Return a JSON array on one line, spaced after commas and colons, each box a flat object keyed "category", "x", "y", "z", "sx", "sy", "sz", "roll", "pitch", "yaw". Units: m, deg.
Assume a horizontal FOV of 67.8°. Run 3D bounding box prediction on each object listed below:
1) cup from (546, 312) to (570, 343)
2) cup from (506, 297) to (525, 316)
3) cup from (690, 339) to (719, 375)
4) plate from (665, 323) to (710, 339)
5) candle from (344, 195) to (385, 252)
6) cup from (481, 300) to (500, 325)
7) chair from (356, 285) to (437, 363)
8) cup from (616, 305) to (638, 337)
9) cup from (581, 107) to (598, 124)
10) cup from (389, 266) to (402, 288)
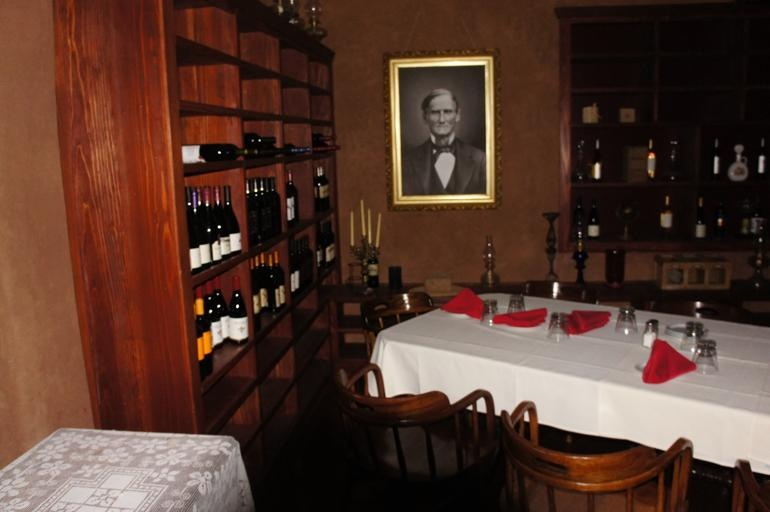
[{"category": "cup", "x": 0.989, "y": 0.411, "z": 3.303, "sx": 0.137, "sy": 0.160, "sz": 0.144, "roll": 1, "pitch": 1, "yaw": 0}, {"category": "cup", "x": 0.839, "y": 0.321, "z": 3.701, "sx": 0.102, "sy": 0.104, "sz": 0.098, "roll": -1, "pitch": 5, "yaw": 0}, {"category": "cup", "x": 1.591, "y": 0.497, "z": 2.918, "sx": 0.145, "sy": 0.165, "sz": 0.139, "roll": -5, "pitch": 10, "yaw": 1}, {"category": "plate", "x": 1.663, "y": 0.413, "z": 3.200, "sx": 0.158, "sy": 0.042, "sz": 0.121, "roll": 0, "pitch": 4, "yaw": 16}, {"category": "candle", "x": -0.183, "y": -0.276, "z": 5.149, "sx": 0.327, "sy": 0.472, "sz": 0.394, "roll": -3, "pitch": 8, "yaw": -4}, {"category": "cup", "x": 0.641, "y": 0.344, "z": 3.617, "sx": 0.125, "sy": 0.178, "sz": 0.128, "roll": -2, "pitch": 7, "yaw": 0}, {"category": "chair", "x": 0.203, "y": 0.488, "z": 4.236, "sx": 0.459, "sy": 0.437, "sz": 0.612, "roll": 2, "pitch": 8, "yaw": 23}, {"category": "cup", "x": 1.403, "y": 0.380, "z": 3.417, "sx": 0.148, "sy": 0.153, "sz": 0.132, "roll": -4, "pitch": 16, "yaw": 1}, {"category": "cup", "x": 1.710, "y": -1.191, "z": 4.820, "sx": 0.131, "sy": 0.183, "sz": 0.185, "roll": 1, "pitch": 11, "yaw": 8}, {"category": "cup", "x": 0.087, "y": 0.181, "z": 5.068, "sx": 0.151, "sy": 0.186, "sz": 0.160, "roll": -1, "pitch": 8, "yaw": 0}]
